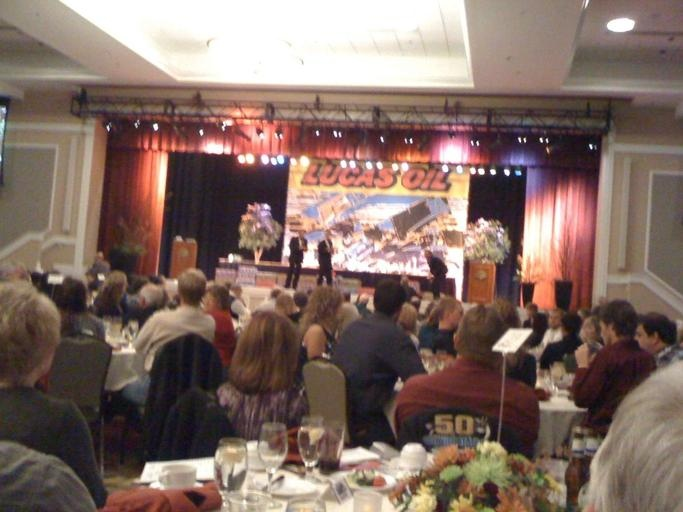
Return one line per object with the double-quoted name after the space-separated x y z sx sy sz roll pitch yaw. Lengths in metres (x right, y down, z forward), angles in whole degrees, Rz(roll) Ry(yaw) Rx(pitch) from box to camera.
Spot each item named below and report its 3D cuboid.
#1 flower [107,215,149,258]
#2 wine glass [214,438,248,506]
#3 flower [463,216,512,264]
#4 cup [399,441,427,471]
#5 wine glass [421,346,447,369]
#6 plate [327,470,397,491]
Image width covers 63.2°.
-4.607 -0.365 12.172 0.736 1.079 0.859 -19 -20 35 "flower"
-0.323 0.654 1.649 0.095 0.208 0.152 4 -1 -24 "wine glass"
3.116 -0.113 12.572 1.180 1.492 0.972 -1 -4 25 "flower"
0.263 0.722 2.006 0.074 0.061 0.079 2 0 0 "cup"
0.707 0.781 4.182 0.137 0.111 0.125 -5 -9 42 "wine glass"
0.094 0.792 1.958 0.119 0.023 0.123 5 -1 -19 "plate"
